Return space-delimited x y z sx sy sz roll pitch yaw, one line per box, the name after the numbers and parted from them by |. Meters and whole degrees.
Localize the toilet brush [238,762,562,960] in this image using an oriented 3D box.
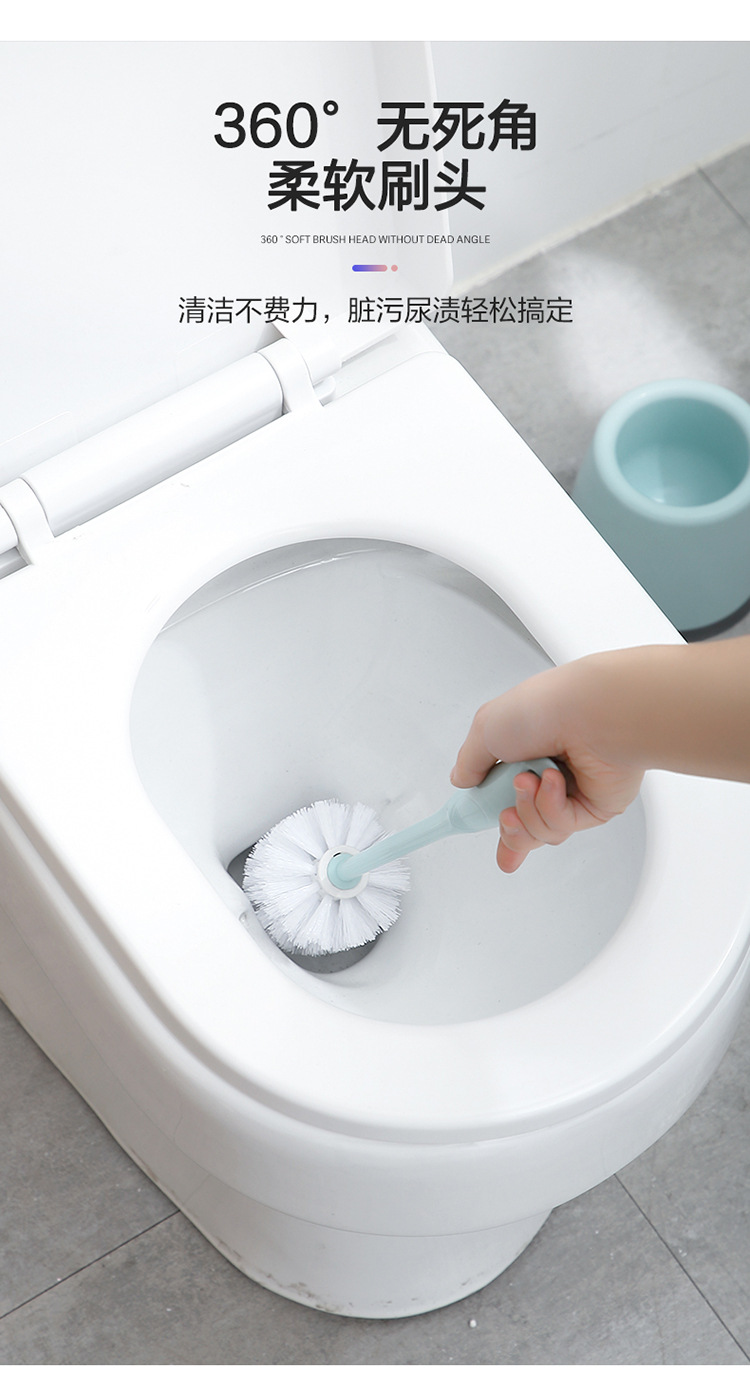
0.016 0.098 0.628 0.065 0.066 0.131 -29 -1 -35 | toilet brush
